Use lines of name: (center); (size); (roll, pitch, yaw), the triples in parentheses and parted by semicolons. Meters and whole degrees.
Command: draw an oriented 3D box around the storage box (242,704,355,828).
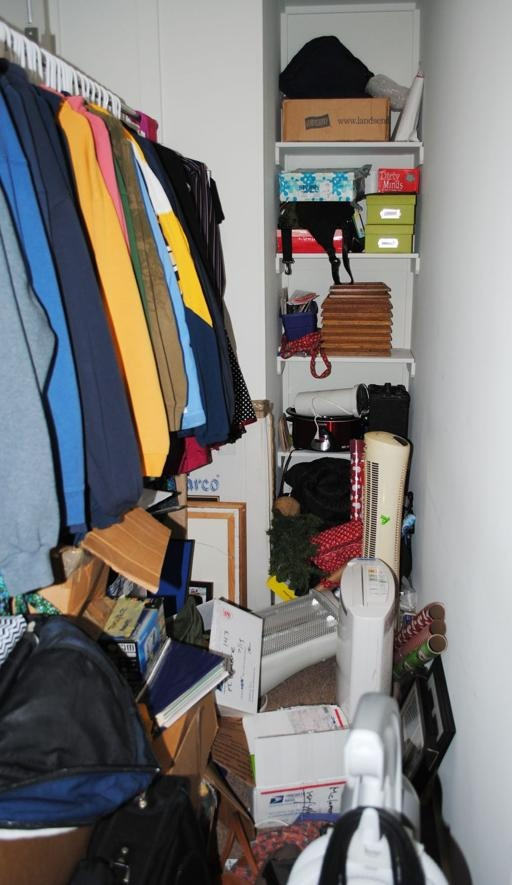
storage box: (0.102, 0.810, 1.611); (0.273, 0.209, 0.286); (-3, 15, 0)

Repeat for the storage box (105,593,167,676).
storage box: (-0.255, 0.373, 1.353); (0.090, 0.137, 0.186); (-2, -6, 8)

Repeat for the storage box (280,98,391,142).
storage box: (0.299, -1.216, 2.424); (0.400, 0.172, 0.057); (-1, 13, 6)

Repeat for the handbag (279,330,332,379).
handbag: (0.203, -0.360, 2.773); (0.205, 0.252, 0.395); (-2, 15, 3)

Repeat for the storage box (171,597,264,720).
storage box: (-0.098, 0.566, 1.647); (0.159, 0.335, 0.216); (-25, -24, 35)
